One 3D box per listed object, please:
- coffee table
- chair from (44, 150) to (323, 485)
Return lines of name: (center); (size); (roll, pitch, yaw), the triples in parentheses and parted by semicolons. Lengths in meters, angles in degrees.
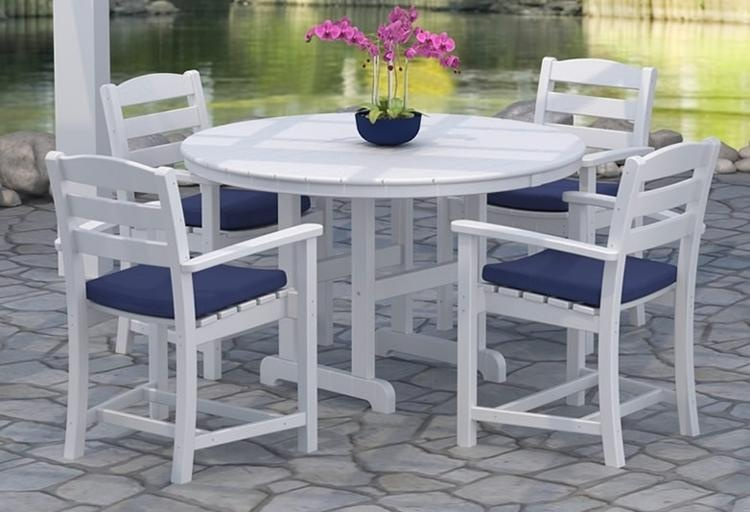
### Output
coffee table: (-0.220, -0.018, 4.543); (2.014, 0.778, 1.900); (10, 16, 37)
chair: (-0.755, 0.232, 3.646); (0.979, 1.268, 0.612); (1, 26, 8)
